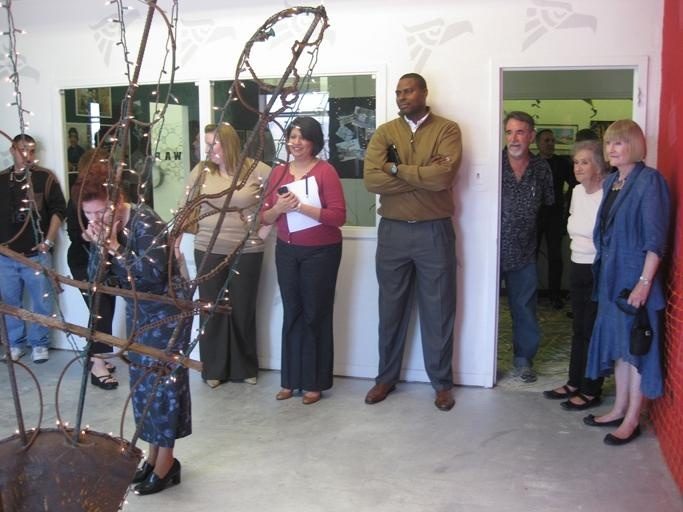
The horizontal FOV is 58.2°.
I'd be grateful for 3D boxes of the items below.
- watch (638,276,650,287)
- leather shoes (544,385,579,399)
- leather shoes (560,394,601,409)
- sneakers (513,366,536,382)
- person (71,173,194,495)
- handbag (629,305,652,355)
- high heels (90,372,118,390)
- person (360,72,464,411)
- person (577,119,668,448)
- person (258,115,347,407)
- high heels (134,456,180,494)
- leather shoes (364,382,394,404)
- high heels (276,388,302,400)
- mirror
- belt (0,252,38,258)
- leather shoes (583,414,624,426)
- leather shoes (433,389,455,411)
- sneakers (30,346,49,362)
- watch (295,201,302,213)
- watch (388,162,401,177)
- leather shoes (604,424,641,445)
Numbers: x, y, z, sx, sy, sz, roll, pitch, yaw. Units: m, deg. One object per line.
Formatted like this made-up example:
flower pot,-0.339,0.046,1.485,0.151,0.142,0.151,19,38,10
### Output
watch,1.734,0.145,3.521,0.045,0.057,0.024,-1,10,39
leather shoes,1.545,0.953,4.334,0.229,0.089,0.092,1,3,-2
leather shoes,1.636,0.982,4.196,0.261,0.085,0.104,-2,6,-16
sneakers,1.404,0.908,4.705,0.080,0.079,0.176,-2,-3,-12
person,-0.928,0.449,2.886,0.467,1.736,1.108,-4,13,-15
handbag,1.747,0.453,3.565,0.119,0.299,0.128,3,13,18
high heels,-1.731,0.924,4.554,0.229,0.091,0.087,3,4,20
person,0.480,-0.103,4.201,0.659,2.228,0.511,2,12,9
person,1.738,0.151,3.713,0.423,1.898,0.575,5,13,22
person,-0.249,0.036,4.260,0.558,1.952,0.422,-1,12,-1
high heels,-0.978,1.195,3.298,0.248,0.111,0.135,-5,14,-45
leather shoes,0.269,0.969,4.365,0.088,0.116,0.270,2,3,37
high heels,-0.375,0.993,4.425,0.205,0.090,0.068,8,-8,-40
mirror,-0.657,-0.696,4.039,1.374,1.397,0.335,1,6,1
belt,-1.754,-0.008,3.393,0.114,0.029,0.069,-3,-1,26
leather shoes,1.666,1.059,3.920,0.177,0.051,0.085,1,0,9
leather shoes,0.727,0.969,4.275,0.147,0.098,0.289,2,13,9
sneakers,-2.492,0.803,5.119,0.087,0.067,0.152,2,36,-27
watch,-0.278,-0.324,4.098,0.041,0.081,0.075,-1,12,-5
watch,0.358,-0.578,4.096,0.044,0.080,0.056,-1,8,-13
leather shoes,1.714,1.093,3.756,0.258,0.100,0.095,-4,-3,-25
